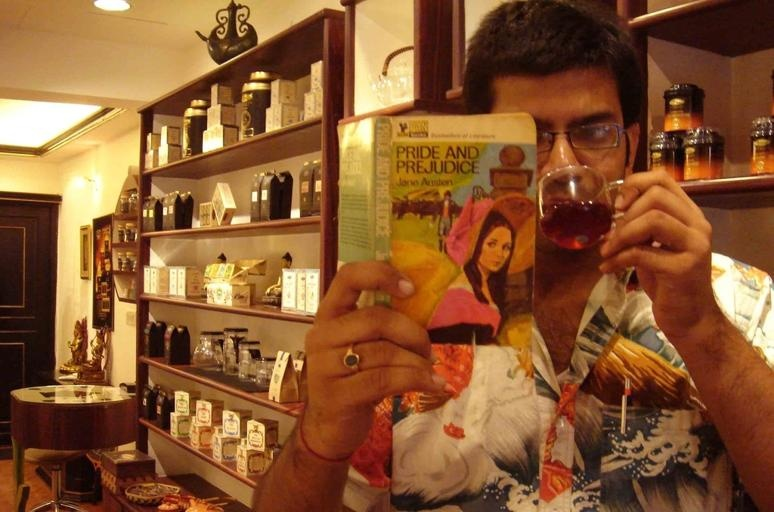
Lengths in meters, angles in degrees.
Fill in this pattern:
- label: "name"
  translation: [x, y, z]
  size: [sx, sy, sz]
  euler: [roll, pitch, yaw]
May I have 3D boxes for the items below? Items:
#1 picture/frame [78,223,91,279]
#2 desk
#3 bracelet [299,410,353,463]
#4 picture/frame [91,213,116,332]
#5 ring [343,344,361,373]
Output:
- label: "picture/frame"
  translation: [-3.632, -0.066, 7.342]
  size: [0.071, 0.695, 0.657]
  euler: [2, -3, -33]
- label: "desk"
  translation: [-2.189, 1.382, 4.281]
  size: [0.737, 0.860, 0.735]
  euler: [-1, -1, -40]
- label: "bracelet"
  translation: [-0.170, 0.439, 1.500]
  size: [0.106, 0.111, 0.026]
  euler: [7, -1, 12]
- label: "picture/frame"
  translation: [-3.106, 0.172, 6.704]
  size: [0.055, 1.447, 1.284]
  euler: [3, -5, -37]
- label: "ring"
  translation: [-0.085, 0.243, 1.430]
  size: [0.034, 0.057, 0.056]
  euler: [-26, -6, -4]
